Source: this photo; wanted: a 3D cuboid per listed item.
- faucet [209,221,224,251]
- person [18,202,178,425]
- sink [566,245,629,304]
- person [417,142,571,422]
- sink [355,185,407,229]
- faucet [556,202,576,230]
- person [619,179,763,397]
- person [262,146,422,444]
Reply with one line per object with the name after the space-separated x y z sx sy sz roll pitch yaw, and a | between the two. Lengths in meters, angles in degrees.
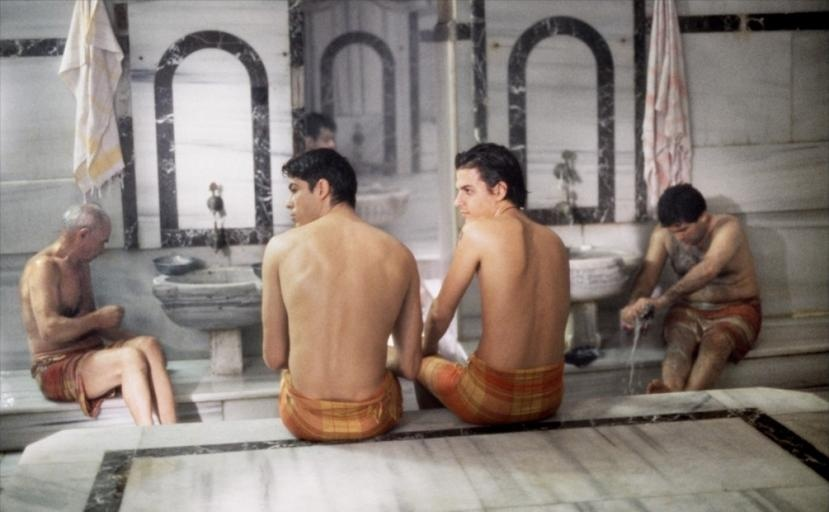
-1.402 -0.140 6.095 0.093 0.208 0.032 -7 11 -22 | faucet
-2.128 0.394 5.773 0.944 1.464 0.505 -2 10 7 | person
1.324 0.141 6.134 0.439 0.375 0.533 -1 9 10 | sink
0.458 0.156 4.977 0.855 1.607 0.454 -2 10 8 | person
-0.245 -0.391 6.604 0.339 0.146 0.297 6 10 33 | sink
1.141 -0.314 6.368 0.113 0.175 0.046 -22 8 6 | faucet
1.960 0.209 6.051 0.897 1.391 0.544 0 11 20 | person
-0.426 0.217 4.816 0.889 1.632 0.396 -5 10 -11 | person
